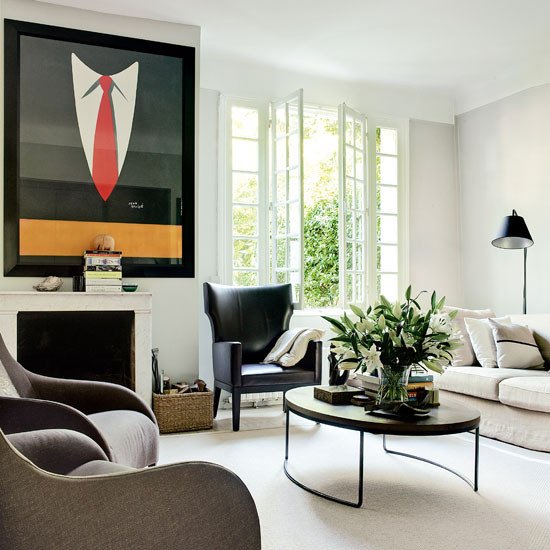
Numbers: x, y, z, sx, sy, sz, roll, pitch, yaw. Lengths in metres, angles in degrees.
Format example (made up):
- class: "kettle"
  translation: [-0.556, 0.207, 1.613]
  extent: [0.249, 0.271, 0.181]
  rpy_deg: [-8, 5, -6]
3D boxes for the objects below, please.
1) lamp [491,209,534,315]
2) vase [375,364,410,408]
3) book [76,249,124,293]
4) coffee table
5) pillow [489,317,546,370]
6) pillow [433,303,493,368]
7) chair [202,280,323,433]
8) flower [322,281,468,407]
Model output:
- class: "lamp"
  translation: [2.140, -0.135, 4.590]
  extent: [0.313, 0.971, 0.592]
  rpy_deg: [-1, -2, 33]
- class: "vase"
  translation: [0.555, 0.507, 2.402]
  extent: [0.161, 0.214, 0.177]
  rpy_deg: [-2, -3, 22]
- class: "book"
  translation: [-1.135, -0.009, 3.389]
  extent: [0.283, 0.313, 0.236]
  rpy_deg: [1, -1, -8]
- class: "coffee table"
  translation: [0.523, 0.802, 2.510]
  extent: [0.966, 0.431, 0.822]
  rpy_deg: [0, -2, 1]
- class: "pillow"
  translation: [1.702, 0.499, 3.680]
  extent: [0.493, 0.493, 0.249]
  rpy_deg: [1, -3, -34]
- class: "pillow"
  translation: [1.212, 0.407, 3.271]
  extent: [0.155, 0.387, 0.458]
  rpy_deg: [1, -5, 42]
- class: "chair"
  translation: [-0.112, 0.560, 3.759]
  extent: [0.744, 1.003, 0.684]
  rpy_deg: [1, -2, -21]
- class: "flower"
  translation: [0.583, 0.373, 2.434]
  extent: [0.412, 0.494, 0.498]
  rpy_deg: [3, -11, -14]
